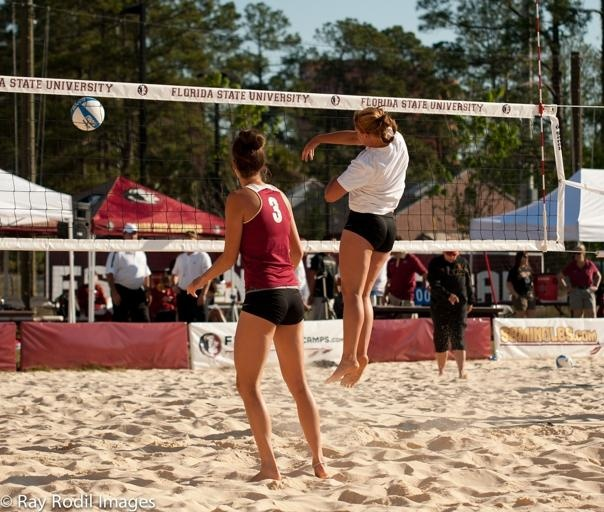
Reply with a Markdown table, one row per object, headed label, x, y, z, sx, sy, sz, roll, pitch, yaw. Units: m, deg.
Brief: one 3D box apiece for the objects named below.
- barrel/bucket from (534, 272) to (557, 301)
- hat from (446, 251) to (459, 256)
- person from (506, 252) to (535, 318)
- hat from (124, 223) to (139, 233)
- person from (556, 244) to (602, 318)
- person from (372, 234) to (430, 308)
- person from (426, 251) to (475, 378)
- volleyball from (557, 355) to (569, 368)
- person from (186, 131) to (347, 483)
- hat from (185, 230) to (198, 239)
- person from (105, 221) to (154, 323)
| label | x | y | z | sx | sy | sz | roll | pitch | yaw |
| --- | --- | --- | --- | --- | --- | --- | --- | --- | --- |
| barrel/bucket | 4.131 | 0.552 | 17.418 | 0.411 | 0.657 | 0.422 | 0 | -5 | 0 |
| hat | 1.846 | -0.029 | 12.339 | 0.119 | 0.051 | 0.210 | -1 | -1 | 44 |
| person | 3.288 | 0.447 | 15.323 | 0.370 | 0.990 | 0.659 | 0 | 0 | 21 |
| hat | -2.224 | -0.346 | 13.021 | 0.155 | 0.085 | 0.260 | -1 | 5 | -18 |
| person | 4.432 | 0.404 | 16.158 | 0.616 | 1.196 | 1.114 | 0 | 0 | 16 |
| person | 1.298 | 0.251 | 13.438 | 0.984 | 0.966 | 0.366 | -3 | -4 | 42 |
| person | 1.805 | 0.719 | 12.384 | 0.505 | 1.544 | 0.457 | 0 | 0 | 22 |
| volleyball | 3.402 | 1.388 | 13.185 | 0.187 | 0.122 | 0.239 | 0 | 0 | 16 |
| person | -0.315 | 0.416 | 8.295 | 0.931 | 2.894 | 0.369 | 0 | 0 | -5 |
| hat | -1.460 | -0.284 | 13.386 | 0.140 | 0.143 | 0.112 | -15 | -19 | 31 |
| person | -2.286 | 0.503 | 13.429 | 0.584 | 1.773 | 0.417 | 3 | 1 | -20 |
